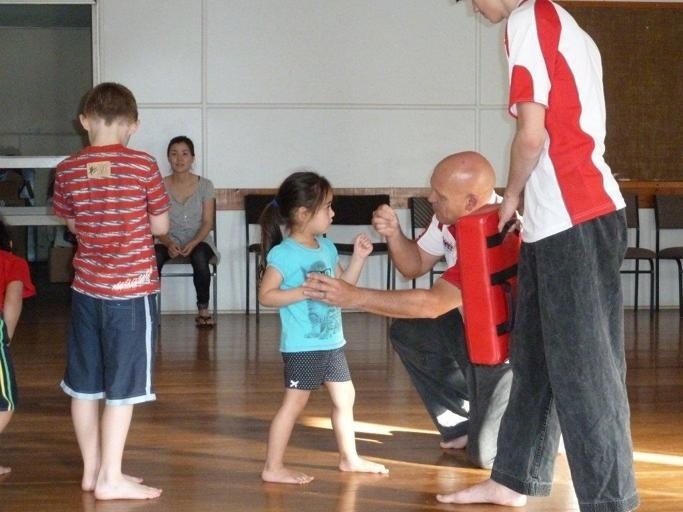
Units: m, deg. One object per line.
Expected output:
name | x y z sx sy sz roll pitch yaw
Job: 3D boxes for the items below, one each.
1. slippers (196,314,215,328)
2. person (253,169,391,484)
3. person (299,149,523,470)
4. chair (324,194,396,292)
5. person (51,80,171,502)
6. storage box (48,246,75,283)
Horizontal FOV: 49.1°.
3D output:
slippers | -0.990 0.461 5.512 0.137 0.092 0.268 -1 9 -9
person | -0.083 0.257 2.968 0.466 1.180 0.360 -1 8 -7
person | 0.392 0.241 3.069 0.797 1.258 0.621 -5 13 9
chair | 0.178 -0.064 5.595 0.462 0.683 0.473 3 9 12
person | -0.871 0.228 2.837 0.444 1.298 0.363 -1 7 -6
storage box | -2.760 0.076 7.459 0.193 0.274 0.274 8 26 29
